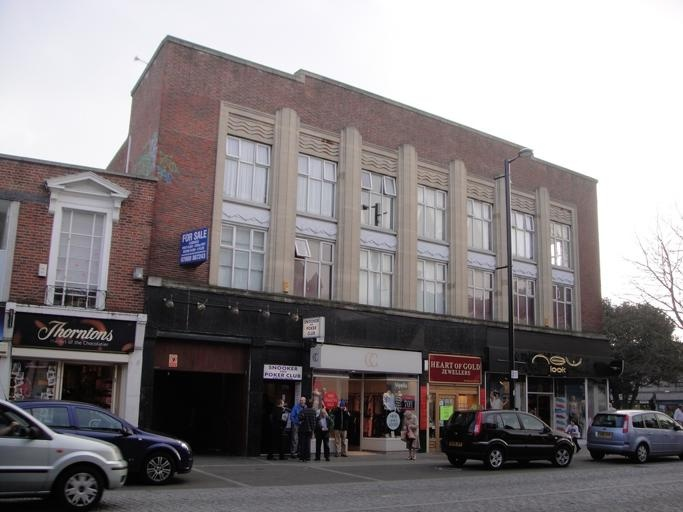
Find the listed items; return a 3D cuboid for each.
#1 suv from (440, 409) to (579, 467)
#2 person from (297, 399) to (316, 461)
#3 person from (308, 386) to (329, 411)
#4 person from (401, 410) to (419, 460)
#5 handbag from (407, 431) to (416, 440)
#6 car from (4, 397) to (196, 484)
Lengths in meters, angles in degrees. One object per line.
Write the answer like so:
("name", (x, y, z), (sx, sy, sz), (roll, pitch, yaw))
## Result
("suv", (5.595, 6.090, 21.116), (3.906, 1.890, 1.132), (5, -16, -19))
("person", (-1.206, 6.066, 22.074), (0.605, 2.025, 1.421), (0, -15, -4))
("person", (-0.837, 5.523, 24.409), (0.823, 0.771, 1.383), (1, -9, -2))
("person", (2.654, 6.808, 24.160), (0.591, 1.834, 1.275), (-2, -15, 5))
("handbag", (2.677, 6.721, 23.800), (0.226, 0.310, 0.319), (0, -7, -15))
("car", (-5.833, 4.505, 15.594), (3.874, 1.438, 1.891), (6, -9, -27))
